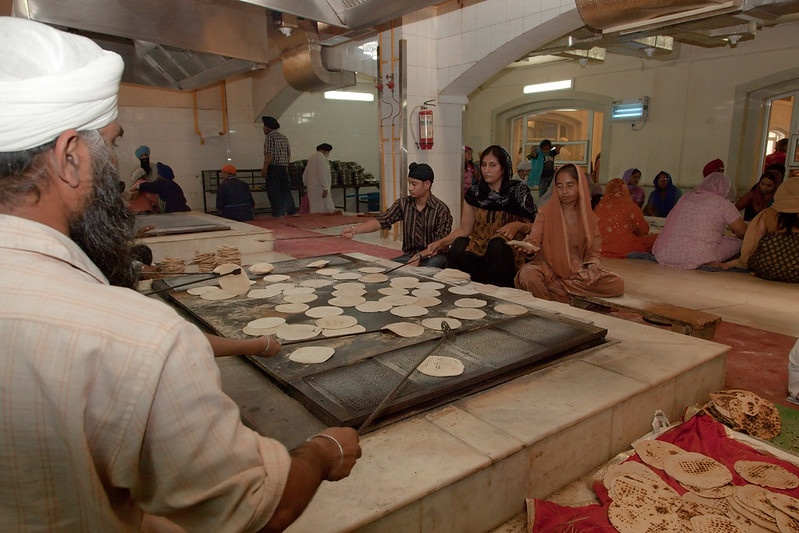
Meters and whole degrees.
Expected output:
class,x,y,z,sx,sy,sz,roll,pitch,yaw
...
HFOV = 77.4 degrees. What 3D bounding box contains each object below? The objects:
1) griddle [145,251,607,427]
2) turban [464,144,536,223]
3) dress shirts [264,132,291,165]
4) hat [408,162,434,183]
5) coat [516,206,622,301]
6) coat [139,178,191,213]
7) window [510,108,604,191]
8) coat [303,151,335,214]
class,x,y,z,sx,sy,sz,roll,pitch,yaw
griddle,-0.281,0.330,3.149,1.623,0.110,2.503,-14,17,-38
turban,0.953,-0.766,4.730,0.713,0.698,0.350,6,21,33
dress shirts,-2.478,-2.403,10.049,0.398,0.629,0.698,14,17,25
hat,0.229,-0.906,4.721,0.278,0.189,0.250,-7,22,-21
coat,1.446,-0.112,4.317,0.953,0.840,0.737,-2,20,3
coat,-3.766,-1.140,7.959,0.460,0.453,1.307,13,6,-19
window,3.763,-3.069,11.991,1.827,1.891,0.067,-9,54,10
coat,-1.684,-1.780,10.690,0.791,1.608,0.532,18,21,35
